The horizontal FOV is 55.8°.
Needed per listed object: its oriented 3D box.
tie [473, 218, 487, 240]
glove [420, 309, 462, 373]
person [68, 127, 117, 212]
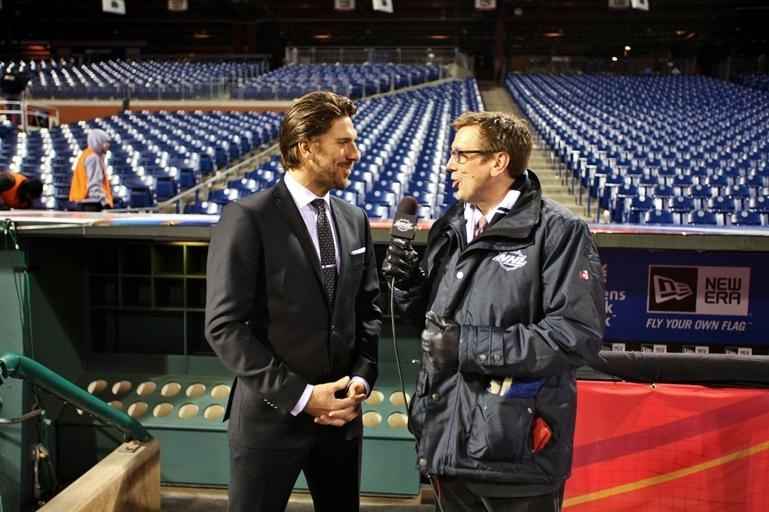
[{"bbox_3d":[0.716,-0.202,5.365,0.059,0.152,0.115,25,-19,-34],"label":"tie"},{"bbox_3d":[0.405,0.613,5.096,0.297,0.366,0.140,10,6,17],"label":"glove"},{"bbox_3d":[-3.899,-1.141,9.616,0.498,1.055,0.496,-5,9,-20],"label":"person"}]
